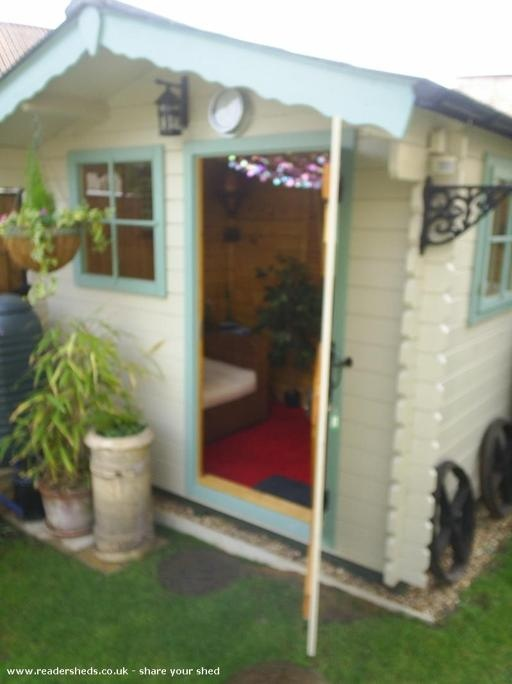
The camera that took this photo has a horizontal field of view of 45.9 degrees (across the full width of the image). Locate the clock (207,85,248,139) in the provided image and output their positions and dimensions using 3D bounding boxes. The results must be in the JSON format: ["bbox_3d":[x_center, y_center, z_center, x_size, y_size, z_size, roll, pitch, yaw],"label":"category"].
[{"bbox_3d":[-0.169,-1.257,3.313,0.274,0.239,0.119,12,17,42],"label":"clock"}]

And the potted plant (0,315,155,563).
[{"bbox_3d":[-1.105,0.555,3.715,0.869,1.263,1.070,-6,14,-25],"label":"potted plant"}]

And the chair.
[{"bbox_3d":[-0.182,0.386,5.435,0.563,0.815,1.201,0,13,-5],"label":"chair"}]

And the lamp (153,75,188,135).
[{"bbox_3d":[-0.493,-1.387,3.539,0.210,0.330,0.125,-4,14,-20],"label":"lamp"}]
